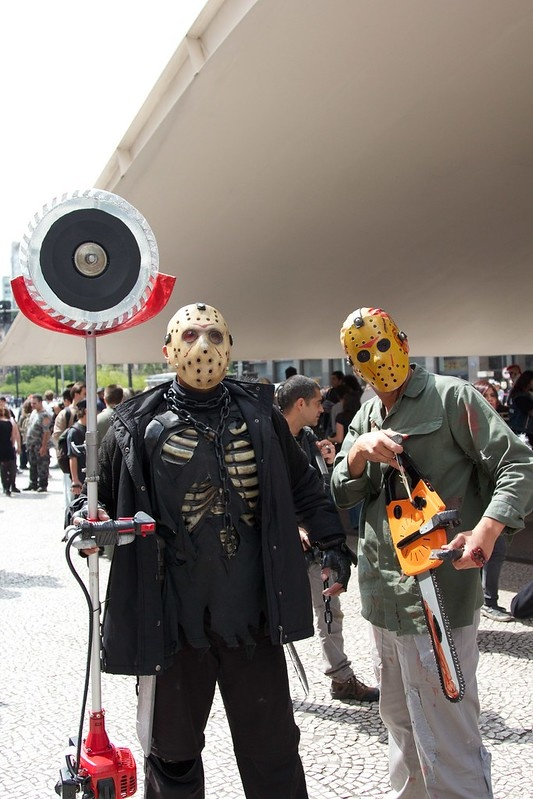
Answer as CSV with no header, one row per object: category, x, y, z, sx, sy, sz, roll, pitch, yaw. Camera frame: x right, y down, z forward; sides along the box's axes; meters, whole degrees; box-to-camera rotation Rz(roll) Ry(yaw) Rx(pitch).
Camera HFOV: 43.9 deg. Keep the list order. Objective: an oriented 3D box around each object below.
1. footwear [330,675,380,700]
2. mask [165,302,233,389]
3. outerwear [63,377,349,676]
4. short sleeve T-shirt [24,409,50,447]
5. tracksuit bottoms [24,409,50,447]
footwear,0.441,1.490,3.425,0.308,0.133,0.109,1,-3,-8
mask,-0.206,-0.170,2.022,0.220,0.260,0.279,-2,-3,-14
outerwear,-0.173,0.316,1.969,0.886,0.721,0.349,-1,-3,-26
short sleeve T-shirt,-4.340,0.553,12.493,0.413,0.712,0.667,1,-2,-18
tracksuit bottoms,-4.342,0.553,12.500,0.413,0.712,0.682,1,-2,-18
